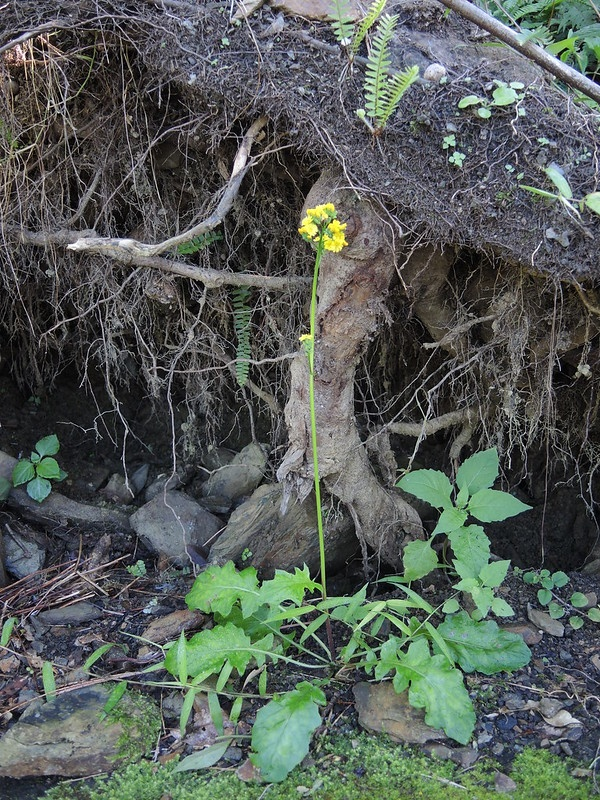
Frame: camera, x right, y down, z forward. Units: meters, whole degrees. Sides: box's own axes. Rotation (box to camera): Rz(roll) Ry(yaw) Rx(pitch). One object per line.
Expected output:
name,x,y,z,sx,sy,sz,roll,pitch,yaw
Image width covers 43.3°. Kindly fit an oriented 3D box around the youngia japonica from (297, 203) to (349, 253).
youngia japonica,0.069,-0.507,2.282,0.167,0.162,0.150,2,35,15
